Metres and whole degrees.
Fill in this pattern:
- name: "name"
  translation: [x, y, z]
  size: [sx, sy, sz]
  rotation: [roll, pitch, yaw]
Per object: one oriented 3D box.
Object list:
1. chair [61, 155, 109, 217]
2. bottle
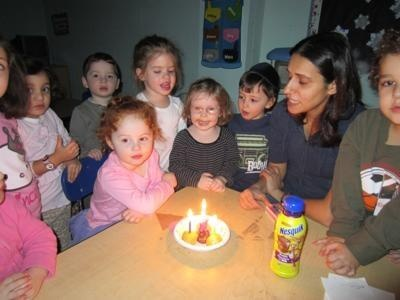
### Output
- name: "chair"
  translation: [-0.748, 0.214, 2.018]
  size: [0.244, 0.368, 0.248]
  rotation: [21, 42, 17]
- name: "bottle"
  translation: [0.396, 0.359, 1.380]
  size: [0.138, 0.338, 0.210]
  rotation: [7, 23, 19]
